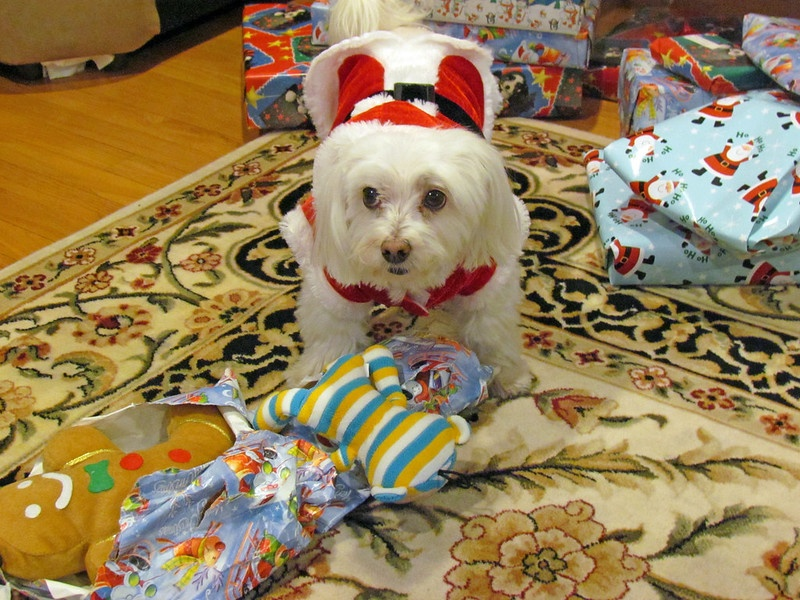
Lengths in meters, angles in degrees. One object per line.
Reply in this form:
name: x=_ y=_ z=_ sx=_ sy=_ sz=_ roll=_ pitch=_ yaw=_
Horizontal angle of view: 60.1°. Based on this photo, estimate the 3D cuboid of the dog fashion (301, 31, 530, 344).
dog fashion: x=0.029 y=-0.339 z=1.901 sx=0.729 sy=0.390 sz=0.842 roll=-5 pitch=54 yaw=2
